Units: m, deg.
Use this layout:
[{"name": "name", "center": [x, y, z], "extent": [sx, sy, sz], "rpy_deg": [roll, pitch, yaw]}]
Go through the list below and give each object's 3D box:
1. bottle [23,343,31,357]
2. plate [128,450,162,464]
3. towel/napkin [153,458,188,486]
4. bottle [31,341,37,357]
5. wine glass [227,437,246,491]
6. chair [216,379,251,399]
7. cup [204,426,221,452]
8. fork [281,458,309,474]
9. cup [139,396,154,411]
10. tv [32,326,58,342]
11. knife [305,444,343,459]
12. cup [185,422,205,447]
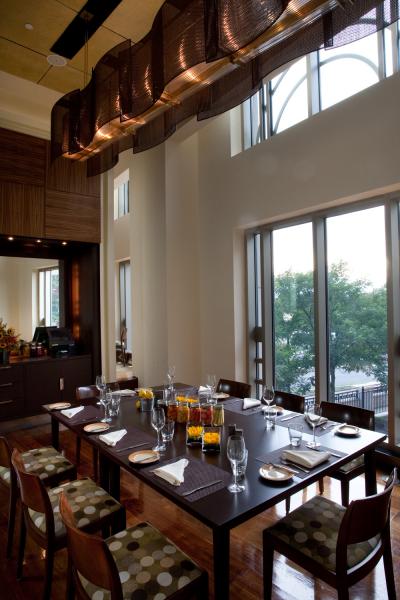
[{"name": "bottle", "center": [-2.010, 0.562, 5.211], "extent": [0.086, 0.157, 0.042], "rpy_deg": [-2, -2, -17]}, {"name": "plate", "center": [-0.264, 0.748, 2.151], "extent": [0.161, 0.025, 0.160], "rpy_deg": [-1, -2, -33]}, {"name": "towel/napkin", "center": [-0.084, 0.747, 1.975], "extent": [0.200, 0.035, 0.192], "rpy_deg": [-1, -2, -40]}, {"name": "bottle", "center": [-1.938, 0.566, 5.235], "extent": [0.073, 0.162, 0.065], "rpy_deg": [-1, -2, -23]}, {"name": "wine glass", "center": [0.155, 0.665, 1.907], "extent": [0.073, 0.210, 0.232], "rpy_deg": [-2, -2, 4]}, {"name": "chair", "center": [0.272, 0.726, 3.744], "extent": [0.171, 0.274, 0.199], "rpy_deg": [-3, -12, 38]}, {"name": "cup", "center": [0.074, 0.713, 2.328], "extent": [0.087, 0.134, 0.097], "rpy_deg": [-5, -7, 31]}, {"name": "fork", "center": [0.427, 0.724, 2.023], "extent": [0.032, 0.029, 0.196], "rpy_deg": [1, -1, -21]}, {"name": "cup", "center": [-0.358, 0.687, 3.034], "extent": [0.080, 0.084, 0.084], "rpy_deg": [1, -5, 0]}, {"name": "tv", "center": [-1.844, 0.355, 5.320], "extent": [0.167, 0.216, 0.213], "rpy_deg": [-2, -2, 36]}, {"name": "knife", "center": [0.595, 0.723, 2.150], "extent": [0.022, 0.014, 0.156], "rpy_deg": [1, 0, -36]}, {"name": "cup", "center": [-0.037, 0.700, 2.385], "extent": [0.093, 0.143, 0.092], "rpy_deg": [2, -2, 0]}]
